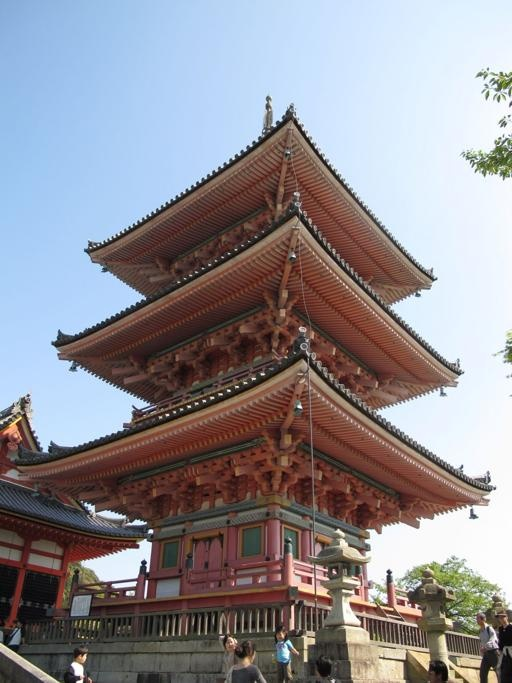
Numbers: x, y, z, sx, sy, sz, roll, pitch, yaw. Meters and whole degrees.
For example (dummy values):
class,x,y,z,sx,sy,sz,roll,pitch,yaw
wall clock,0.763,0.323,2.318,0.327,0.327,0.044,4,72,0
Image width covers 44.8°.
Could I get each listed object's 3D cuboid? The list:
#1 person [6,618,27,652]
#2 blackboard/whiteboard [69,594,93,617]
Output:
class,x,y,z,sx,sy,sz,roll,pitch,yaw
person,-5.285,6.442,13.633,0.351,0.777,2.152,12,-32,-16
blackboard/whiteboard,-3.923,5.893,13.824,0.199,0.475,0.813,27,-39,-34
